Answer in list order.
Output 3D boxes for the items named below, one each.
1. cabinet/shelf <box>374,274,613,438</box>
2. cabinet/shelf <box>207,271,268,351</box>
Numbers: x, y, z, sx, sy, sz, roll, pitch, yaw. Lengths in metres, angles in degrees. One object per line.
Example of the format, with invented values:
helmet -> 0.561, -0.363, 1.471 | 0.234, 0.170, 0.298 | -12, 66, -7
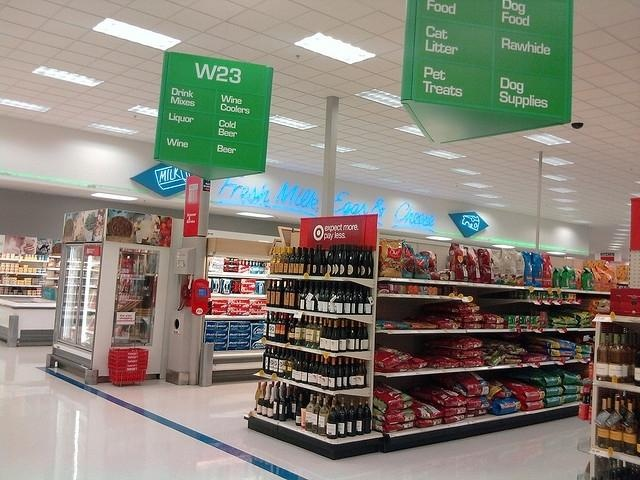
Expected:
cabinet/shelf -> 2.741, 1.654, 7.613 | 5.465, 1.950, 1.078 | 6, -4, -33
cabinet/shelf -> -1.677, 1.454, 9.527 | 2.018, 1.493, 0.599 | 5, -15, -30
